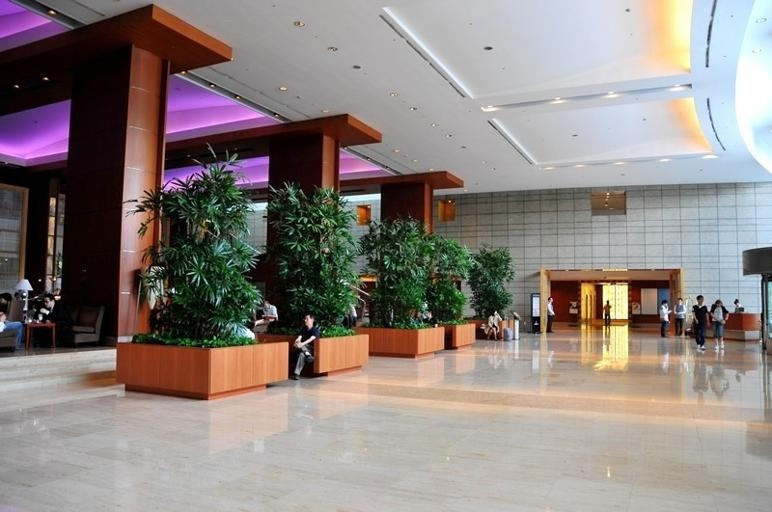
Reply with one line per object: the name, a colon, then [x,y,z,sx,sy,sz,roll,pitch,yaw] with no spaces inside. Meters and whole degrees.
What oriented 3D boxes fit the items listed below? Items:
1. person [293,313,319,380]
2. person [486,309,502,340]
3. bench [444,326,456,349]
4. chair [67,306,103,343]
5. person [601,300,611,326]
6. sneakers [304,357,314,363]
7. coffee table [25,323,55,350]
person: [-1.764,1.948,10.526,0.571,1.348,0.481,3,-3,-32]
person: [4.789,3.090,21.347,0.528,1.156,0.967,0,-2,22]
bench: [2.243,2.803,16.641,0.401,0.810,0.236,0,-3,18]
chair: [-6.617,1.561,10.901,0.727,0.951,0.824,-1,-7,10]
person: [13.342,3.526,29.004,0.294,1.461,1.169,0,-2,19]
sneakers: [-1.656,2.245,10.444,0.137,0.098,0.137,-3,-9,19]
coffee table: [-7.693,1.781,10.753,0.680,0.625,0.656,-1,-2,-19]
